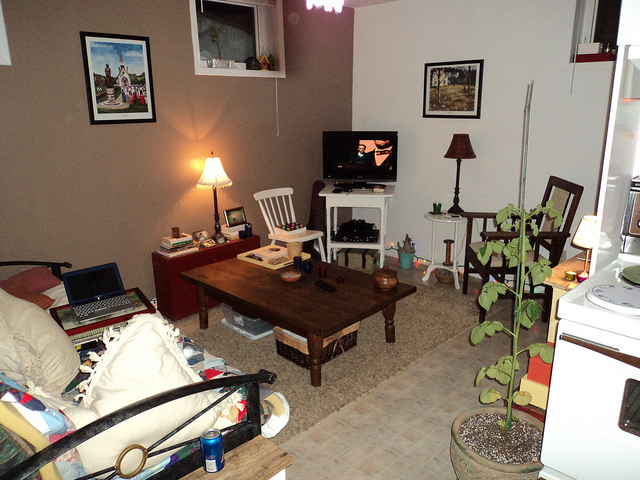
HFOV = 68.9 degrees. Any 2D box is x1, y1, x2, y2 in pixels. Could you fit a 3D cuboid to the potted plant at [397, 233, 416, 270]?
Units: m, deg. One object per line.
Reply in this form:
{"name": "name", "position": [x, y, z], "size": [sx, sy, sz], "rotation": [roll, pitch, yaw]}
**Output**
{"name": "potted plant", "position": [1.104, 0.168, 5.965], "size": [0.211, 0.372, 0.205], "rotation": [-8, 16, -23]}

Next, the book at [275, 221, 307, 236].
{"name": "book", "position": [-0.349, -0.132, 5.361], "size": [0.371, 0.103, 0.286], "rotation": [-6, 19, -20]}

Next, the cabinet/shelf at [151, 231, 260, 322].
{"name": "cabinet/shelf", "position": [-1.235, 0.373, 4.997], "size": [0.338, 0.632, 1.041], "rotation": [12, 19, 39]}

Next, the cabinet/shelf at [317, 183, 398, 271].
{"name": "cabinet/shelf", "position": [0.355, -0.198, 5.977], "size": [1.108, 1.133, 0.996], "rotation": [6, 21, 19]}

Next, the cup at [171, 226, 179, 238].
{"name": "cup", "position": [-1.459, -0.078, 4.695], "size": [0.094, 0.111, 0.099], "rotation": [2, 18, -1]}

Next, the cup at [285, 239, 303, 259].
{"name": "cup", "position": [-0.251, 0.084, 4.558], "size": [0.154, 0.129, 0.165], "rotation": [0, 16, 0]}

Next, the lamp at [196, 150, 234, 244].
{"name": "lamp", "position": [-1.134, -0.471, 4.979], "size": [0.346, 0.891, 0.565], "rotation": [-4, 18, -15]}

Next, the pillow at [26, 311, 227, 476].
{"name": "pillow", "position": [-0.789, 0.628, 1.975], "size": [0.613, 0.702, 0.209], "rotation": [-34, 10, -35]}

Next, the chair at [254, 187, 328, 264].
{"name": "chair", "position": [-0.357, -0.163, 5.409], "size": [0.642, 0.920, 0.575], "rotation": [14, 27, 40]}

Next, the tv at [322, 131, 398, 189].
{"name": "tv", "position": [0.511, -1.030, 5.902], "size": [0.706, 0.518, 0.191], "rotation": [2, 14, 10]}

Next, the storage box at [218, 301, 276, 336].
{"name": "storage box", "position": [-0.707, 0.766, 4.406], "size": [0.388, 0.135, 0.292], "rotation": [12, 20, 37]}

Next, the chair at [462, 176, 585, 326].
{"name": "chair", "position": [1.925, 0.046, 4.668], "size": [0.937, 1.343, 0.942], "rotation": [0, 15, -5]}

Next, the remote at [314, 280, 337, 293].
{"name": "remote", "position": [0.048, 0.385, 3.938], "size": [0.082, 0.043, 0.157], "rotation": [-20, 29, -33]}

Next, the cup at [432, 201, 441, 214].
{"name": "cup", "position": [1.397, -0.384, 5.508], "size": [0.128, 0.146, 0.127], "rotation": [2, 19, -1]}

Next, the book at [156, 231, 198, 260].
{"name": "book", "position": [-1.464, 0.051, 4.654], "size": [0.235, 0.165, 0.325], "rotation": [12, 20, 39]}

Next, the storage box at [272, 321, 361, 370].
{"name": "storage box", "position": [-0.052, 0.780, 4.294], "size": [0.725, 0.365, 0.983], "rotation": [6, 0, 2]}

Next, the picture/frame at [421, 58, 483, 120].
{"name": "picture/frame", "position": [1.560, -1.761, 5.416], "size": [0.724, 0.632, 0.027], "rotation": [11, 16, 39]}

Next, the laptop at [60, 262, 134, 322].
{"name": "laptop", "position": [-1.699, 0.387, 3.556], "size": [0.400, 0.262, 0.448], "rotation": [18, 25, 40]}
